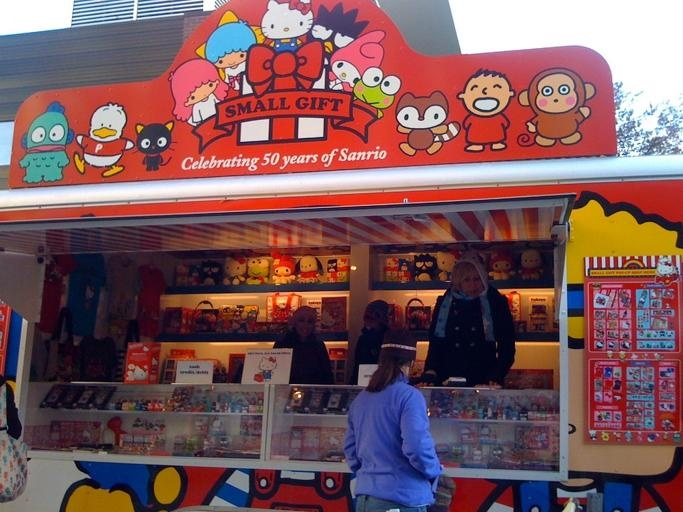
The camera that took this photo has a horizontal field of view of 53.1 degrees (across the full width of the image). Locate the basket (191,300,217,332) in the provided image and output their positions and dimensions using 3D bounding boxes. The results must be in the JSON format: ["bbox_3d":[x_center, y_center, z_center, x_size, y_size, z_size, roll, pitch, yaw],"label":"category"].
[{"bbox_3d":[-1.532,0.658,7.662,0.243,0.354,0.122,-5,-19,8],"label":"basket"}]

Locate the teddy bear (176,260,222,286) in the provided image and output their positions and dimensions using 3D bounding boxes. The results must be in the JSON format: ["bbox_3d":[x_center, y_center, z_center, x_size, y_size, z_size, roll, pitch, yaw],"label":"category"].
[{"bbox_3d":[-1.607,0.195,7.735,0.535,0.282,0.260,1,-2,11],"label":"teddy bear"}]

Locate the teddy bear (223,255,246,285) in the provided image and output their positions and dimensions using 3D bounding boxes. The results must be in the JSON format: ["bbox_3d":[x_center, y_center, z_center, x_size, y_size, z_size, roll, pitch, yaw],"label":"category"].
[{"bbox_3d":[-1.186,0.163,7.623,0.244,0.358,0.157,-4,-27,11],"label":"teddy bear"}]

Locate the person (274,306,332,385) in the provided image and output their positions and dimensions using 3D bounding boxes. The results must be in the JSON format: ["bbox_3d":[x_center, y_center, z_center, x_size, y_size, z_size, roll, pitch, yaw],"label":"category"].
[{"bbox_3d":[-0.371,0.827,6.564,0.551,0.753,0.757,1,-10,-5],"label":"person"}]

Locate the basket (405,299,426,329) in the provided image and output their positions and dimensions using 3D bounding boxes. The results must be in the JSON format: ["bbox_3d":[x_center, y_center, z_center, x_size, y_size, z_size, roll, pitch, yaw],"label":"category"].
[{"bbox_3d":[0.755,0.602,6.959,0.236,0.334,0.180,-2,-16,13],"label":"basket"}]

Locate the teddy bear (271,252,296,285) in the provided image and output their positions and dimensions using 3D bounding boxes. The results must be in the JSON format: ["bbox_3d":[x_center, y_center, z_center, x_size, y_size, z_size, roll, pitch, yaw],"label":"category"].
[{"bbox_3d":[-0.634,0.142,7.498,0.231,0.326,0.197,-9,-29,10],"label":"teddy bear"}]

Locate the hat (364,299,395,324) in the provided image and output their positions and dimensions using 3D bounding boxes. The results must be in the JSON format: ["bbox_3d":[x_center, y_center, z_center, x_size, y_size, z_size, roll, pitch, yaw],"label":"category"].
[{"bbox_3d":[0.370,0.555,6.811,0.192,0.234,0.265,7,-19,26],"label":"hat"}]

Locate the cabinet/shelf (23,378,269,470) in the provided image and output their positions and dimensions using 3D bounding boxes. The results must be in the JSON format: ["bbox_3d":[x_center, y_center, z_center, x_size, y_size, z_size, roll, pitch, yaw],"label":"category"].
[{"bbox_3d":[-1.805,1.477,6.210,2.320,0.648,0.239,-2,-11,15],"label":"cabinet/shelf"}]

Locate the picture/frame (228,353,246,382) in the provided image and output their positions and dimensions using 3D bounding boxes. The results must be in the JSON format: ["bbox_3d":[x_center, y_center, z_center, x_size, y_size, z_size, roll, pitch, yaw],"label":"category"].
[{"bbox_3d":[-1.118,1.180,7.263,0.148,0.289,0.380,2,-10,-9],"label":"picture/frame"}]
